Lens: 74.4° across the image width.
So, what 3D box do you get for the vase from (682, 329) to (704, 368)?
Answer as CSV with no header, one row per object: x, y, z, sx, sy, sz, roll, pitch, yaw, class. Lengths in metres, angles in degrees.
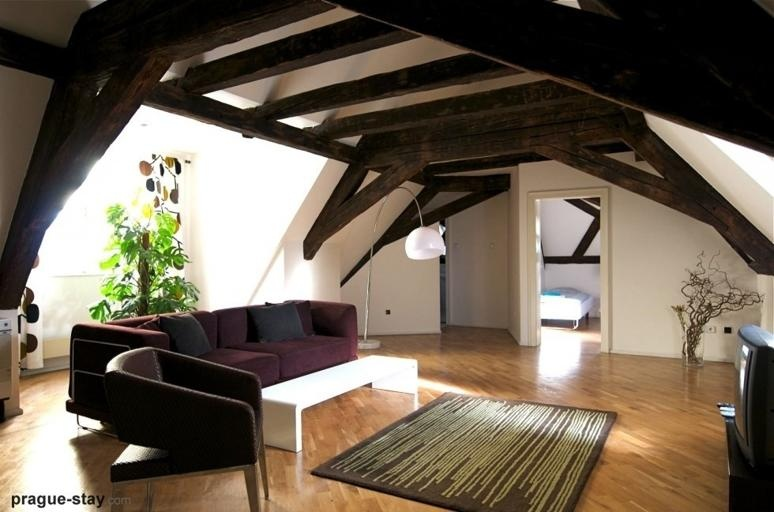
4.026,1.167,6.747,0.238,0.479,0.431,0,-3,31,vase

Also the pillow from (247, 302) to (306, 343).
-1.278,0.737,5.902,0.474,0.439,0.140,-8,-21,-49,pillow

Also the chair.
-1.328,1.187,3.450,1.036,1.056,0.604,2,-3,-3,chair

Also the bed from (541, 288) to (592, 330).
3.534,1.002,10.129,0.888,0.754,1.547,1,-4,19,bed

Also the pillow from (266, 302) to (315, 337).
-1.179,0.784,6.471,0.180,0.446,0.448,-22,-10,35,pillow

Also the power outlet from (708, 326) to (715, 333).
4.330,0.962,6.836,0.087,0.074,0.047,-3,-7,24,power outlet
